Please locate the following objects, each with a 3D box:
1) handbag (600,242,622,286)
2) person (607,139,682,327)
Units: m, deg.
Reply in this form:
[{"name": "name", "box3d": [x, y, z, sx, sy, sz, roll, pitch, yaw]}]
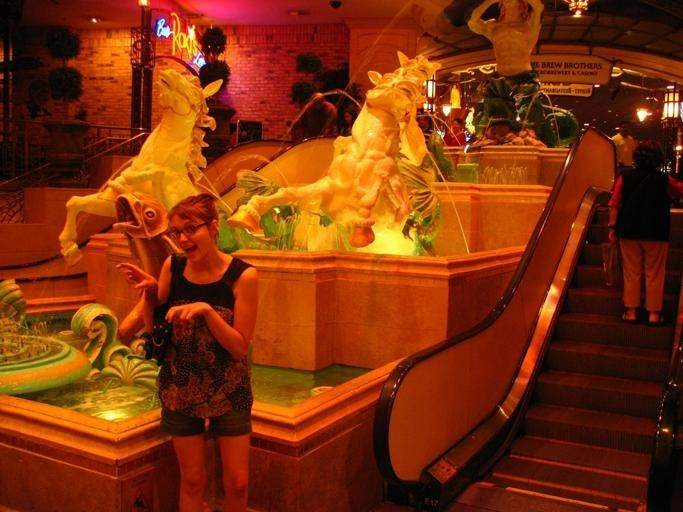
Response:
[{"name": "handbag", "box3d": [2.465, 0.055, 4.886, 0.099, 0.414, 0.133, 5, -5, -18]}, {"name": "person", "box3d": [2.706, -0.236, 4.714, 0.583, 1.541, 0.738, 8, 13, 27]}]
